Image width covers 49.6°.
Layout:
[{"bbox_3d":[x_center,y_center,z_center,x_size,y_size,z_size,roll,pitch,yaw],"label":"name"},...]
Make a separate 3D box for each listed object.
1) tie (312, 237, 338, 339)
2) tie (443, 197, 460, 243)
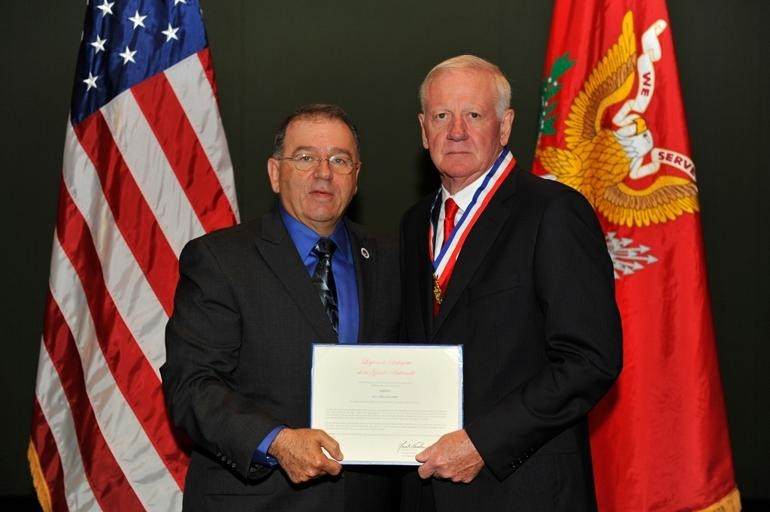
[{"bbox_3d":[-0.347,0.177,4.917,0.121,0.594,0.088,1,-28,-15],"label":"tie"},{"bbox_3d":[0.387,-0.199,4.940,0.074,0.310,0.034,0,-33,11],"label":"tie"}]
